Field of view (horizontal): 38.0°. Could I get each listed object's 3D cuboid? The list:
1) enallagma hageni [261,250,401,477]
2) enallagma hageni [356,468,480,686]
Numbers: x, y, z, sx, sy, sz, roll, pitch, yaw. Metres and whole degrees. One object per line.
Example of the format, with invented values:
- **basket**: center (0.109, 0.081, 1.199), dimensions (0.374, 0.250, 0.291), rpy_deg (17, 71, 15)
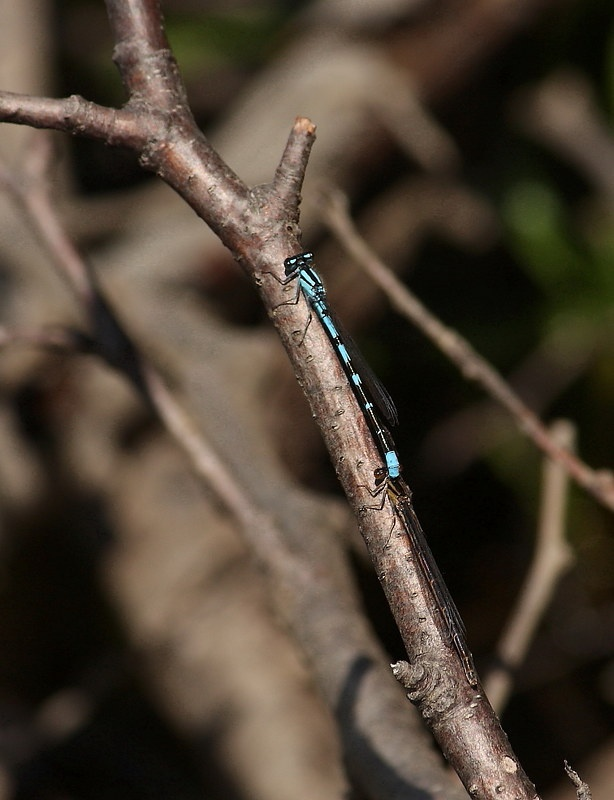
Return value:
- **enallagma hageni**: center (0.035, -0.084, 1.233), dimensions (0.090, 0.088, 0.284), rpy_deg (-29, 87, -32)
- **enallagma hageni**: center (0.125, 0.184, 1.087), dimensions (0.060, 0.084, 0.320), rpy_deg (-23, 67, 10)
